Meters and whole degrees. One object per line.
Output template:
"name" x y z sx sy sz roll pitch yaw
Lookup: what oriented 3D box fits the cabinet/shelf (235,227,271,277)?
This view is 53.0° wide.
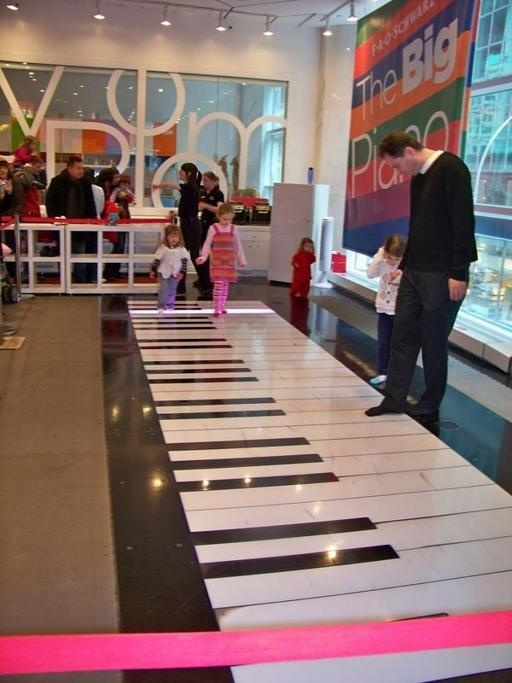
"cabinet/shelf" -0.151 -1.588 9.092 0.663 0.843 0.495 -5 13 -21

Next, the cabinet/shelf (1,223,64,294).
"cabinet/shelf" -2.955 -1.158 6.906 0.819 0.960 2.098 -2 13 -20

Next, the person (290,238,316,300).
"person" 0.651 -1.046 7.307 0.302 0.849 0.438 4 13 6

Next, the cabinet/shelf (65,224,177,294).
"cabinet/shelf" -1.868 -1.106 6.912 1.185 0.780 0.367 2 19 -1

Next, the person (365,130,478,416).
"person" 1.065 -0.389 3.192 0.585 1.745 0.536 5 8 36
